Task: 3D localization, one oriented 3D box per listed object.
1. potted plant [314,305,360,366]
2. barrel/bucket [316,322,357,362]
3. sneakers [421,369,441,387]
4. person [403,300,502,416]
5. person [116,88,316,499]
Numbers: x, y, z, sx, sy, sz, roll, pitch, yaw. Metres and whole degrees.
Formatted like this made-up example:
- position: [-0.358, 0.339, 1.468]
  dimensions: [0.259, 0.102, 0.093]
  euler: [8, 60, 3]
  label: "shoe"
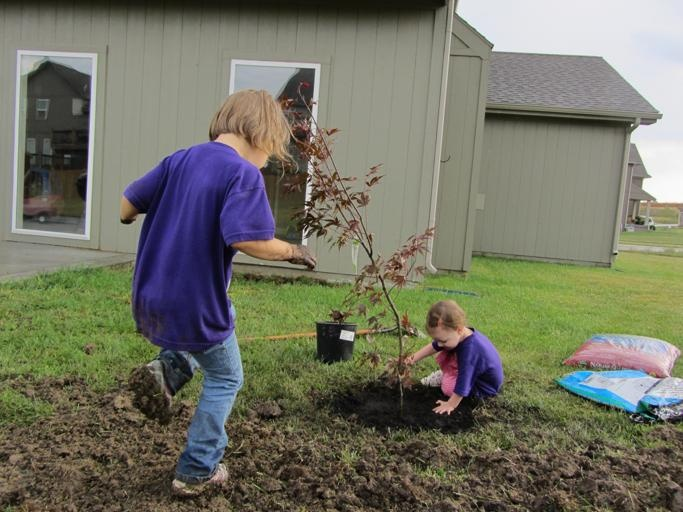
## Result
- position: [-0.069, 0.705, 5.140]
  dimensions: [0.399, 0.337, 0.385]
  euler: [4, -1, -14]
  label: "potted plant"
- position: [-0.049, 0.778, 5.298]
  dimensions: [0.389, 0.358, 0.423]
  euler: [4, -11, 1]
  label: "barrel/bucket"
- position: [0.732, 0.983, 4.818]
  dimensions: [0.106, 0.076, 0.133]
  euler: [-12, -1, 35]
  label: "sneakers"
- position: [0.858, 0.741, 4.734]
  dimensions: [0.727, 0.761, 0.894]
  euler: [-2, 14, -5]
  label: "person"
- position: [-0.807, 0.207, 3.592]
  dimensions: [0.963, 2.454, 0.536]
  euler: [2, 7, -10]
  label: "person"
